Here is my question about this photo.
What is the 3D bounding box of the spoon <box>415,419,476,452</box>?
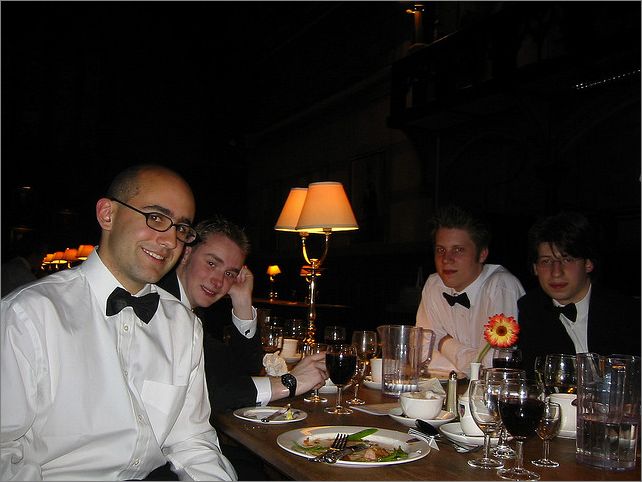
[{"bbox_3d":[0.410,0.639,1.626,0.059,0.040,0.271,3,-7,-18],"label":"spoon"}]

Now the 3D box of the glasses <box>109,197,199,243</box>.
[{"bbox_3d":[-0.582,-0.051,1.849,0.197,0.059,0.201,22,-7,38],"label":"glasses"}]

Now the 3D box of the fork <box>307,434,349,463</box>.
[{"bbox_3d":[0.040,0.622,1.508,0.036,0.029,0.259,-3,-6,17],"label":"fork"}]

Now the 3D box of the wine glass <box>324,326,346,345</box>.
[{"bbox_3d":[0.083,0.541,2.801,0.108,0.113,0.110,-2,-9,26],"label":"wine glass"}]

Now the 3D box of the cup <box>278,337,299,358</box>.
[{"bbox_3d":[-0.188,0.660,3.000,0.087,0.074,0.110,1,-21,-2],"label":"cup"}]

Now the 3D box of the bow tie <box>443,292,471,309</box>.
[{"bbox_3d":[0.946,0.419,3.363,0.160,0.145,0.265,-1,6,18],"label":"bow tie"}]

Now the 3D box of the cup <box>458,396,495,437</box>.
[{"bbox_3d":[0.524,0.595,1.671,0.114,0.123,0.113,-1,-10,0],"label":"cup"}]

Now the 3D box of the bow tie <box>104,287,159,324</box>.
[{"bbox_3d":[-0.686,0.241,1.773,0.131,0.089,0.037,13,-9,-29],"label":"bow tie"}]

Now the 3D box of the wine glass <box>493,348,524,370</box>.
[{"bbox_3d":[0.756,0.473,2.013,0.105,0.108,0.104,2,-7,-4],"label":"wine glass"}]

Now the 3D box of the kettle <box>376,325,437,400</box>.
[{"bbox_3d":[0.375,0.547,2.175,0.335,0.348,0.226,2,1,7],"label":"kettle"}]

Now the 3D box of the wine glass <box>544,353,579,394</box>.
[{"bbox_3d":[0.885,0.487,1.806,0.143,0.155,0.139,1,-12,0],"label":"wine glass"}]

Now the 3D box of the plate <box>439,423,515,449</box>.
[{"bbox_3d":[0.508,0.624,1.569,0.164,0.037,0.157,2,-5,-17],"label":"plate"}]

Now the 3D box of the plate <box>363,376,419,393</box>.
[{"bbox_3d":[0.321,0.643,2.193,0.130,0.021,0.128,8,-9,-44],"label":"plate"}]

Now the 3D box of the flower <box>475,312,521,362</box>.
[{"bbox_3d":[0.702,0.390,1.942,0.139,0.192,0.099,2,9,36],"label":"flower"}]

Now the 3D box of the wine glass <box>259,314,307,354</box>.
[{"bbox_3d":[-0.227,0.549,2.897,0.208,0.174,0.239,1,-7,-3],"label":"wine glass"}]

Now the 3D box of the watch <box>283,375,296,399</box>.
[{"bbox_3d":[-0.127,0.619,2.080,0.035,0.087,0.066,-7,-8,7],"label":"watch"}]
